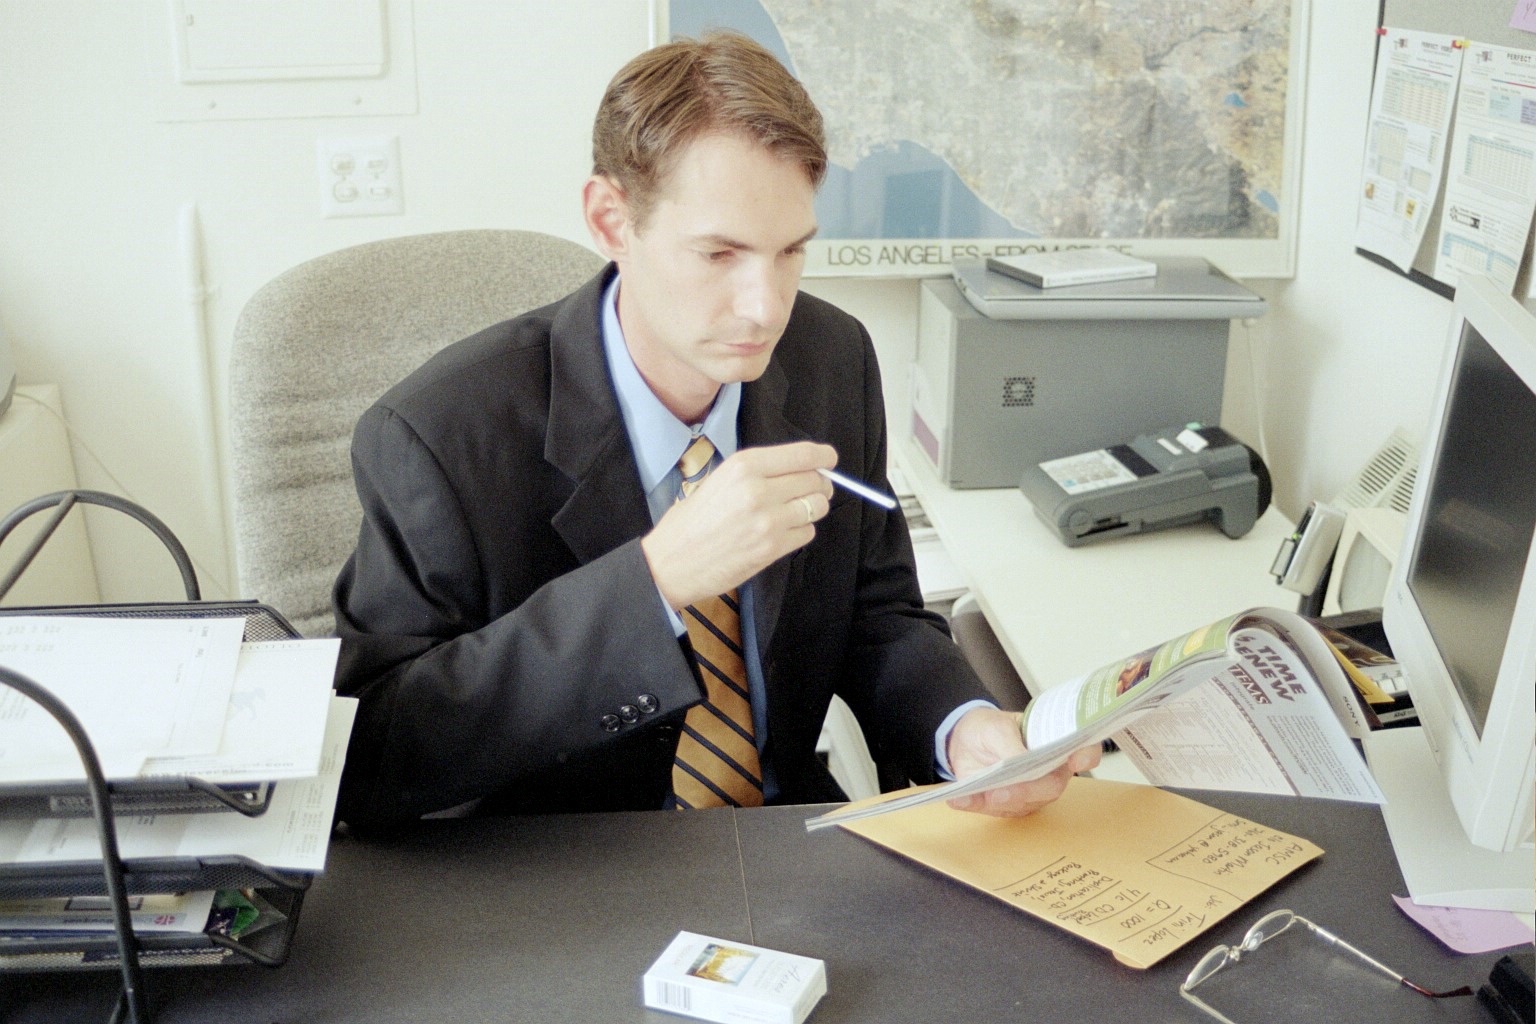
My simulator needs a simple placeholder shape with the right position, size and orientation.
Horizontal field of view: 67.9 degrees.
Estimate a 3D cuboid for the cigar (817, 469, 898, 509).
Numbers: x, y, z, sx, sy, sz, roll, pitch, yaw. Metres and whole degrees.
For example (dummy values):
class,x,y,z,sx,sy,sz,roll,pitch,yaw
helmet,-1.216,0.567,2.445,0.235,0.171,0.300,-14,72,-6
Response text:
class,x,y,z,sx,sy,sz,roll,pitch,yaw
cigar,0.117,-0.031,1.557,0.110,0.015,0.024,24,36,-22
